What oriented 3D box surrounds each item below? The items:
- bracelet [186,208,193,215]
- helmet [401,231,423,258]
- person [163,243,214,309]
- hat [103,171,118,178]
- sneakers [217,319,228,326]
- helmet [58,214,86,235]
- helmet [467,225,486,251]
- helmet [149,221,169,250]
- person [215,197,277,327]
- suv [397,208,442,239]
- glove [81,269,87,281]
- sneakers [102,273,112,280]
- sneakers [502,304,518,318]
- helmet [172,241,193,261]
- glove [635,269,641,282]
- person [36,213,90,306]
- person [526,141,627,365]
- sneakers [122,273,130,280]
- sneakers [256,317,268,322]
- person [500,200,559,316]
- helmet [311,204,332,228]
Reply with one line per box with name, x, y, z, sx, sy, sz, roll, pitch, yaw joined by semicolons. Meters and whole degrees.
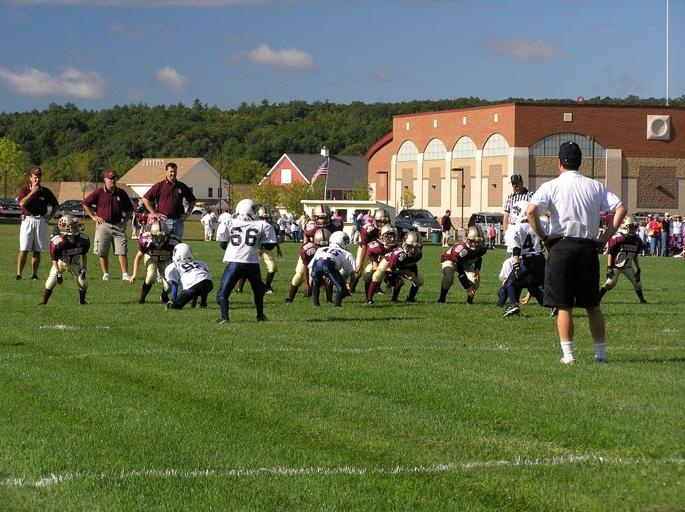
bracelet;-2.577;-0.728;19.182;0.100;0.025;0.107;-26;33;25
helmet;1.161;-0.191;19.136;0.273;0.361;0.394;3;23;-21
person;-2.331;0.334;17.245;0.647;0.989;1.369;-1;5;-21
hat;-4.091;-1.407;19.865;0.172;0.136;0.239;-2;4;-38
sneakers;-1.668;0.920;15.685;0.063;0.072;0.158;1;-4;-30
helmet;-4.273;-0.492;17.816;0.373;0.339;0.307;-3;11;-4
helmet;2.214;-0.282;18.917;0.304;0.428;0.437;1;12;6
helmet;-2.919;-0.318;17.949;0.266;0.359;0.357;0;31;-22
person;-1.378;0.164;16.215;0.836;1.755;1.473;-1;12;-5
suv;3.863;-1.471;55.732;1.364;1.360;2.940;0;4;-23
glove;-4.113;0.308;18.003;0.056;0.236;0.066;0;-13;-22
sneakers;-4.504;0.402;21.554;0.114;0.153;0.208;1;6;-8
sneakers;2.494;0.843;17.029;0.109;0.148;0.291;-4;-2;-41
helmet;-2.439;-0.034;17.241;0.217;0.269;0.310;-2;39;-8
glove;5.255;0.352;20.131;0.096;0.345;0.136;1;41;10
person;-4.376;0.111;17.842;0.747;1.558;0.756;-2;14;-23
person;2.685;-0.018;13.147;1.064;2.520;0.634;1;12;8
sneakers;-4.064;0.397;21.230;0.100;0.144;0.298;-3;3;-33
sneakers;-1.136;0.896;16.039;0.159;0.075;0.058;-1;13;1
person;2.802;0.056;17.419;0.830;1.741;0.753;-4;8;-13
helmet;-0.363;-0.707;19.991;0.275;0.342;0.385;1;1;-5
